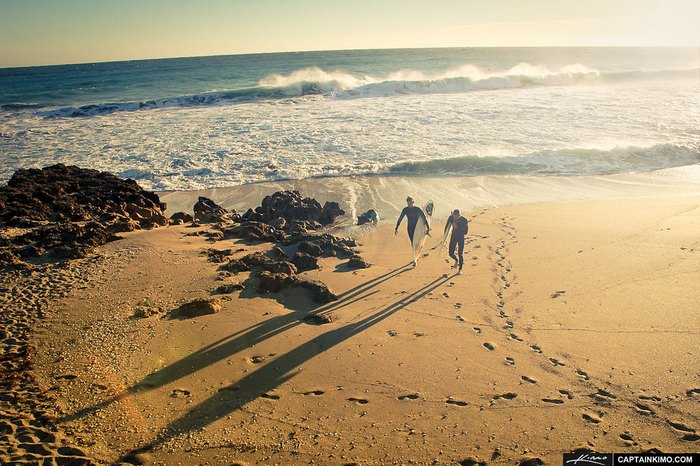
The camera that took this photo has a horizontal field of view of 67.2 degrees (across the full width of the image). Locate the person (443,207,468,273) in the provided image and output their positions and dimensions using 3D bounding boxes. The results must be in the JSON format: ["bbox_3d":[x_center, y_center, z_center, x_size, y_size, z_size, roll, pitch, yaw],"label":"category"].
[{"bbox_3d":[2.699,0.074,13.457,0.544,1.501,1.426,-6,25,10],"label":"person"}]

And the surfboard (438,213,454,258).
[{"bbox_3d":[2.600,0.119,14.466,0.092,1.561,0.358,25,66,2],"label":"surfboard"}]

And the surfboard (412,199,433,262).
[{"bbox_3d":[1.886,-0.035,13.887,0.433,1.578,0.345,-8,15,-39],"label":"surfboard"}]

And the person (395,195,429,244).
[{"bbox_3d":[1.648,-0.316,13.877,0.712,1.511,1.073,-8,26,6],"label":"person"}]
